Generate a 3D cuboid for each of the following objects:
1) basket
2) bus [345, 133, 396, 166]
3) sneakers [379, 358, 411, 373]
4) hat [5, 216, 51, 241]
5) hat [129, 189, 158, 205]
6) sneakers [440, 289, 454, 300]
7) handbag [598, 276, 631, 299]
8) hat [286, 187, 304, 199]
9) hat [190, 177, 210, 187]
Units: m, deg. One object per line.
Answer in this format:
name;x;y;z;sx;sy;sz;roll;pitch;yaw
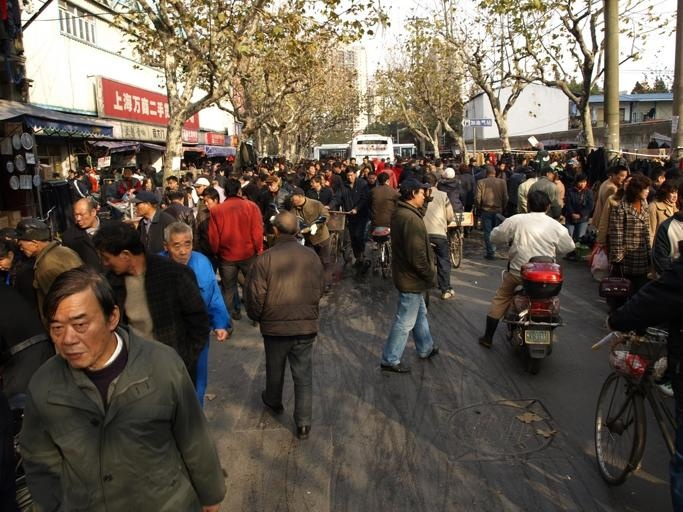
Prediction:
basket;2.255;0.733;3.745;0.370;0.406;0.297;3;3;37
bus;1.921;-6.299;31.462;2.071;2.124;4.148;0;19;-1
sneakers;0.666;1.392;6.162;0.391;0.212;0.146;-4;25;3
hat;-2.962;-0.250;4.750;0.283;0.210;0.297;-6;11;-33
hat;-3.314;-1.000;8.303;0.291;0.231;0.400;-8;20;-35
sneakers;1.944;0.716;9.043;0.110;0.149;0.311;-17;-5;28
handbag;3.207;0.367;5.826;0.296;0.245;0.255;0;4;16
hat;-0.908;-1.287;9.896;0.334;0.218;0.490;-6;13;-32
hat;-2.848;-1.518;10.128;0.221;0.182;0.288;21;19;32
